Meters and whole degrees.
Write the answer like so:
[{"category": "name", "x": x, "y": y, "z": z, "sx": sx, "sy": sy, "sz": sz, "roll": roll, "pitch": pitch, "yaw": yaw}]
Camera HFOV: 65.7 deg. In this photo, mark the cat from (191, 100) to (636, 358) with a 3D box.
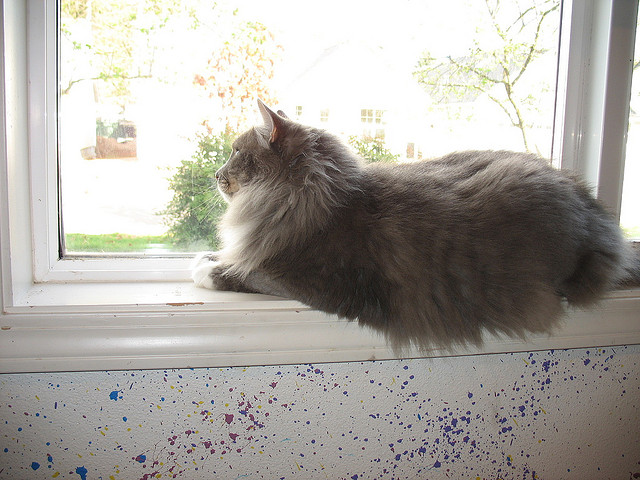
[{"category": "cat", "x": 0.286, "y": 0.049, "z": 1.503, "sx": 1.081, "sy": 0.464, "sz": 0.784, "roll": 4, "pitch": 33, "yaw": 10}]
